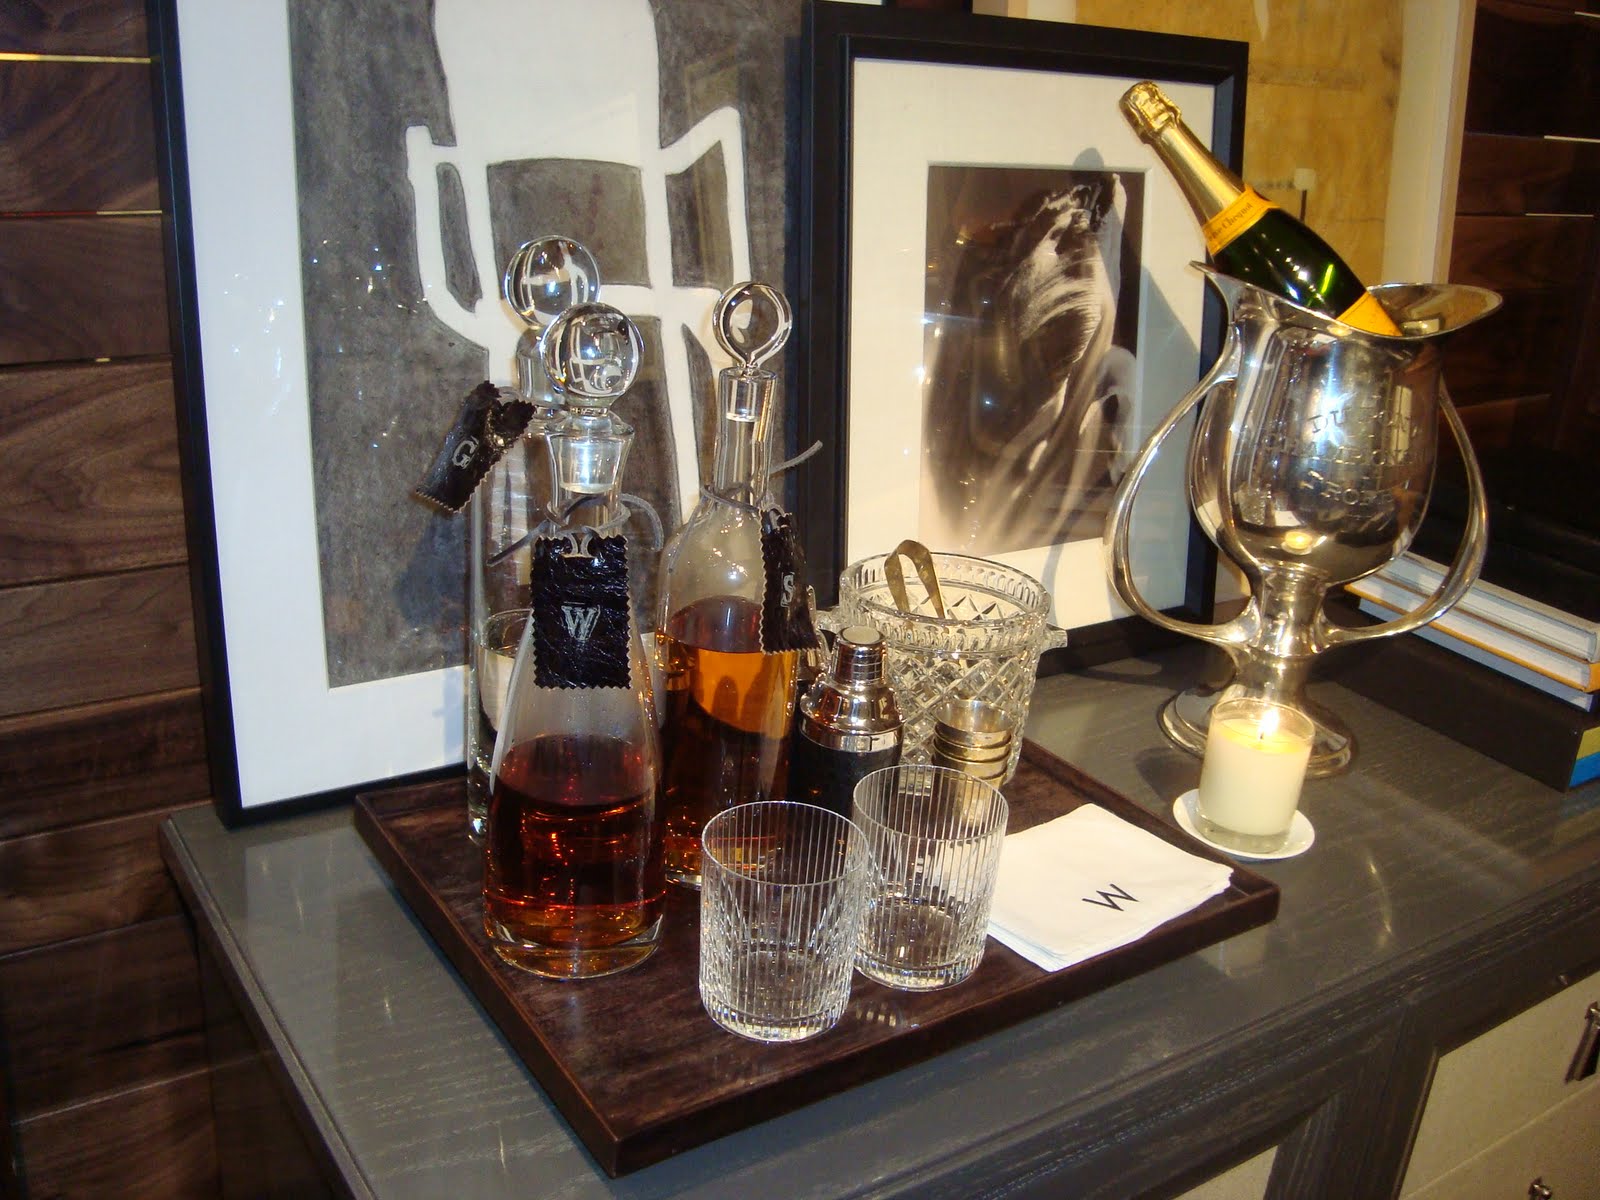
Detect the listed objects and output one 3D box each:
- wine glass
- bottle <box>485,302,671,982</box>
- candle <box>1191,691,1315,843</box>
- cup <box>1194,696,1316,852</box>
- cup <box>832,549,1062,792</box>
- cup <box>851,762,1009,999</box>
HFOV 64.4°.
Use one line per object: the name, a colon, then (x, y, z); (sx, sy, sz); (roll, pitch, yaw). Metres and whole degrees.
wine glass: (0.421, -0.046, 1.034); (0.321, 0.384, 0.226); (15, 25, 1)
bottle: (-0.141, 0.020, 0.752); (0.116, 0.359, 0.191); (-4, 22, -7)
candle: (0.324, 0.122, 0.954); (0.089, 0.103, 0.093); (9, 19, 9)
cup: (0.319, 0.119, 0.961); (0.091, 0.106, 0.095); (3, 22, -1)
cup: (0.111, 0.032, 1.011); (0.167, 0.179, 0.170); (1, 22, 0)
cup: (0.061, 0.168, 0.810); (0.112, 0.126, 0.120); (2, 18, -1)
